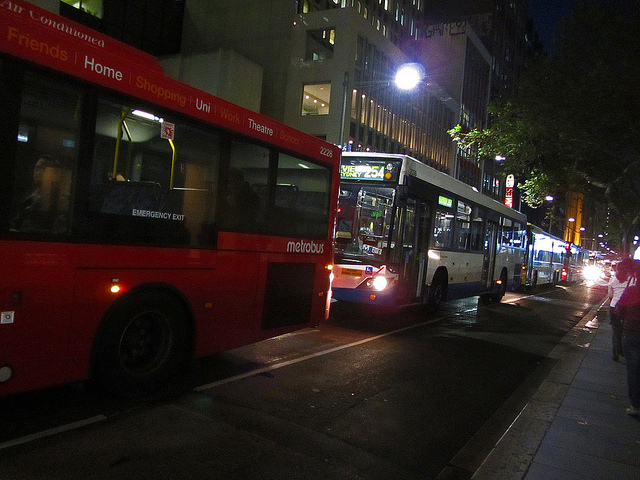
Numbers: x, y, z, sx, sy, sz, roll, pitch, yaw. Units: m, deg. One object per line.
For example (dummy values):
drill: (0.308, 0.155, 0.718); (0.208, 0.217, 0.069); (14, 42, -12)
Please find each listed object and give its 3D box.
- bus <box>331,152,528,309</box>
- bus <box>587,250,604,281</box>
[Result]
bus: (4.729, 0.363, 15.402); (3.018, 4.112, 11.789); (0, -8, 33)
bus: (61.290, 5.583, 102.890); (4.533, 4.933, 7.453); (-5, -9, 38)
